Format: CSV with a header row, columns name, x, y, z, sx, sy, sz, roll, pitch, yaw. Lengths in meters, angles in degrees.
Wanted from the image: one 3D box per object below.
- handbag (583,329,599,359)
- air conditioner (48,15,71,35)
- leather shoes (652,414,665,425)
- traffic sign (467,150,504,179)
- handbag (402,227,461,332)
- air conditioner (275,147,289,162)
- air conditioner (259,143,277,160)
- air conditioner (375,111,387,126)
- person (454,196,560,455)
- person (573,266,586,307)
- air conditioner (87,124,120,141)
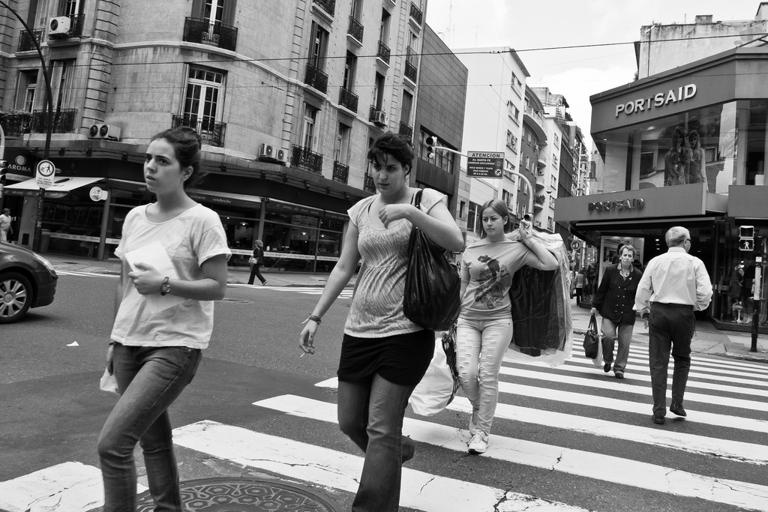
name,x,y,z,sx,sy,sz,roll,pitch,yaw
handbag,3.783,1.585,11.894,0.253,0.534,0.171,5,4,27
air conditioner,-14.030,-10.040,28.404,0.985,0.810,0.469,5,4,20
leather shoes,3.895,2.268,9.212,0.226,0.088,0.142,3,4,-18
traffic sign,5.151,-4.728,33.199,1.724,1.407,2.988,4,4,8
handbag,0.461,0.215,6.157,0.536,0.945,0.290,4,3,-3
air conditioner,-4.595,-4.623,29.896,0.510,0.660,0.898,1,3,12
air conditioner,-5.090,-4.653,29.305,0.322,0.717,0.934,7,5,43
air conditioner,-0.152,-7.984,37.969,0.339,0.871,1.042,5,4,24
person,1.292,0.810,8.199,0.798,3.025,1.025,6,4,31
person,9.094,1.419,30.293,0.427,1.531,2.325,5,4,18
air conditioner,-11.498,-5.179,27.318,1.008,0.549,0.718,3,5,9
